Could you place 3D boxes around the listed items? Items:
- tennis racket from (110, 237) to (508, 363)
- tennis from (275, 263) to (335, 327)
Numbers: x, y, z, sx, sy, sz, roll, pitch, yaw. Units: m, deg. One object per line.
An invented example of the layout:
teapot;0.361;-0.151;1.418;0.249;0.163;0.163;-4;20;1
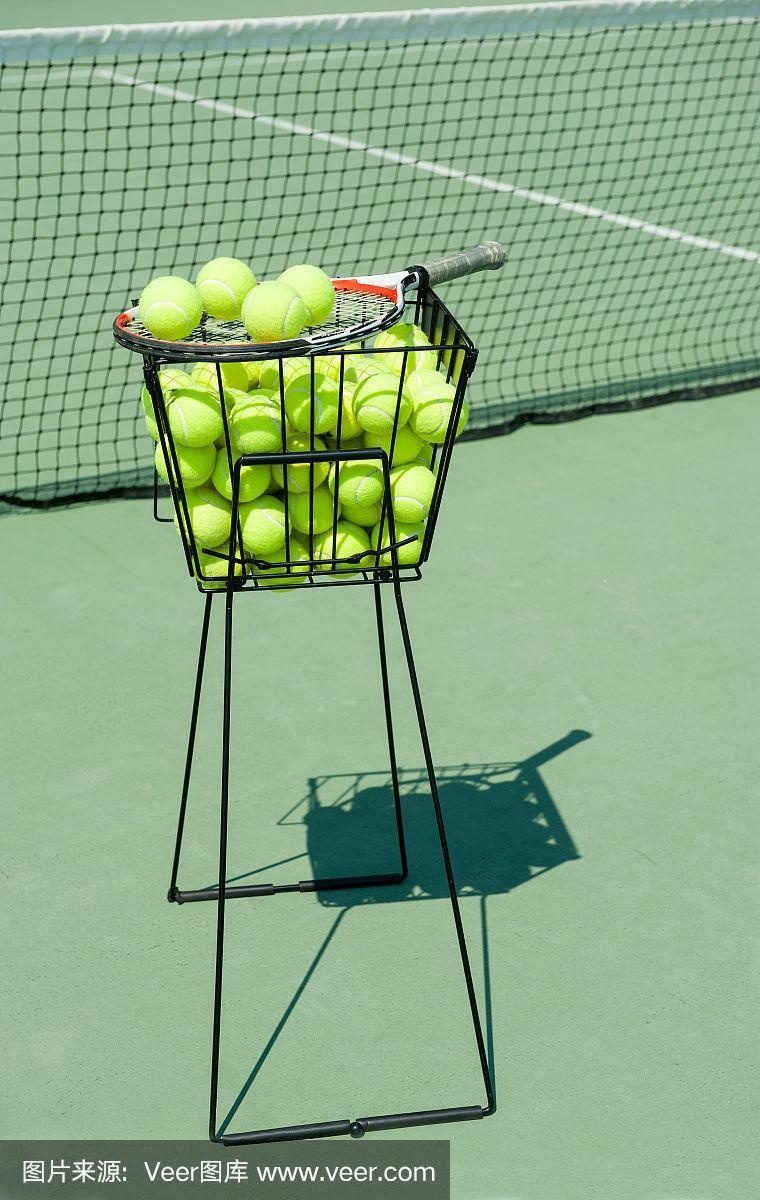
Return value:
tennis racket;-0.115;-0.507;2.050;0.654;0.053;0.371;-14;32;-24
tennis;-0.121;-0.527;1.955;0.112;0.106;0.109;7;15;13
